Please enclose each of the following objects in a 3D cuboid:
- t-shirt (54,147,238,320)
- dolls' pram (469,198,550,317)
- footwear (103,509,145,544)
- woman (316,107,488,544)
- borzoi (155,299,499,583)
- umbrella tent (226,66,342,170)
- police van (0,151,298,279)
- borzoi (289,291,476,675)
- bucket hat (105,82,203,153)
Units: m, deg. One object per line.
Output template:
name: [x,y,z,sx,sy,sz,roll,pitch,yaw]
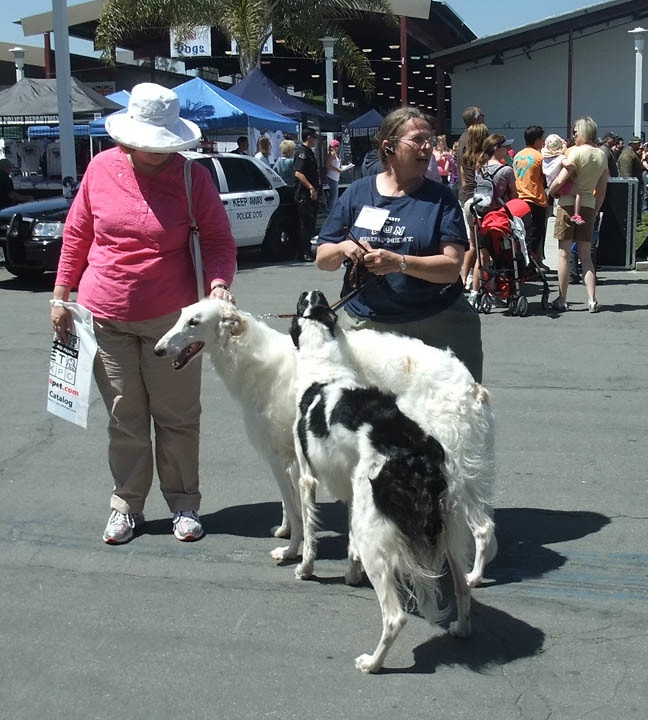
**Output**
t-shirt: [-0.885,-0.614,4.253,0.888,0.807,0.435,-2,14,-7]
dolls' pram: [2.247,-1.265,10.553,0.927,1.293,0.839,-10,14,-29]
footwear: [-1.033,0.845,4.461,0.099,0.108,0.243,8,-2,-4]
woman: [0.397,-0.207,4.123,0.743,1.846,0.597,-2,20,9]
borzoi: [0.053,0.369,3.915,1.587,1.073,0.409,5,10,21]
umbrella tent: [-1.223,-6.144,21.587,3.157,1.337,3.096,3,13,9]
police van: [-2.451,-2.322,13.904,2.141,1.520,4.688,4,8,30]
borzoi: [0.234,0.462,3.421,0.486,1.341,0.904,-6,14,-20]
bucket hat: [-0.810,-1.139,4.111,0.438,0.340,0.493,-1,13,0]
